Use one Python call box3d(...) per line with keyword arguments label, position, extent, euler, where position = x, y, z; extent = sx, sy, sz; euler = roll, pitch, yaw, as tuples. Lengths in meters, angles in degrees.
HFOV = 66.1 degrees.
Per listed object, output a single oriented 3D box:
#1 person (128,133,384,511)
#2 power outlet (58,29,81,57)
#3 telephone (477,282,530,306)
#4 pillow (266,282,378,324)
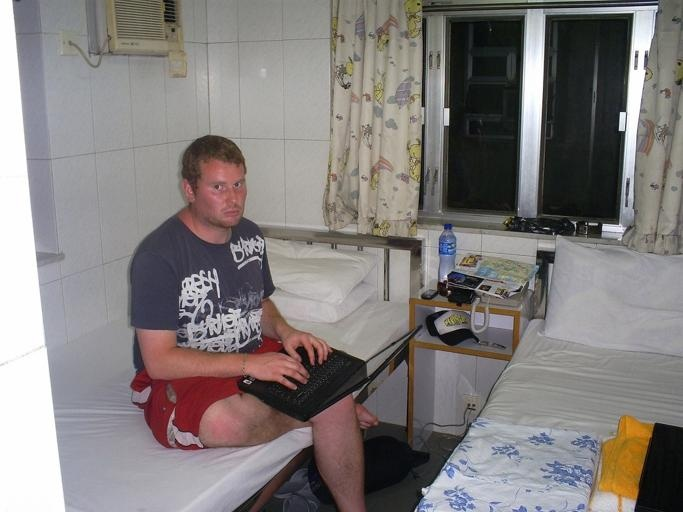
box3d(label="person", position=(-0.333, 0.087, 2.505), extent=(1.358, 1.546, 1.133), euler=(13, 15, 31))
box3d(label="power outlet", position=(-1.316, -1.025, 2.518), extent=(0.036, 0.111, 0.085), euler=(5, 13, 20))
box3d(label="telephone", position=(0.859, 0.200, 2.812), extent=(0.212, 0.081, 0.126), euler=(11, 28, 25))
box3d(label="pillow", position=(-0.147, 0.242, 3.142), extent=(0.571, 0.147, 0.583), euler=(3, 12, 43))
